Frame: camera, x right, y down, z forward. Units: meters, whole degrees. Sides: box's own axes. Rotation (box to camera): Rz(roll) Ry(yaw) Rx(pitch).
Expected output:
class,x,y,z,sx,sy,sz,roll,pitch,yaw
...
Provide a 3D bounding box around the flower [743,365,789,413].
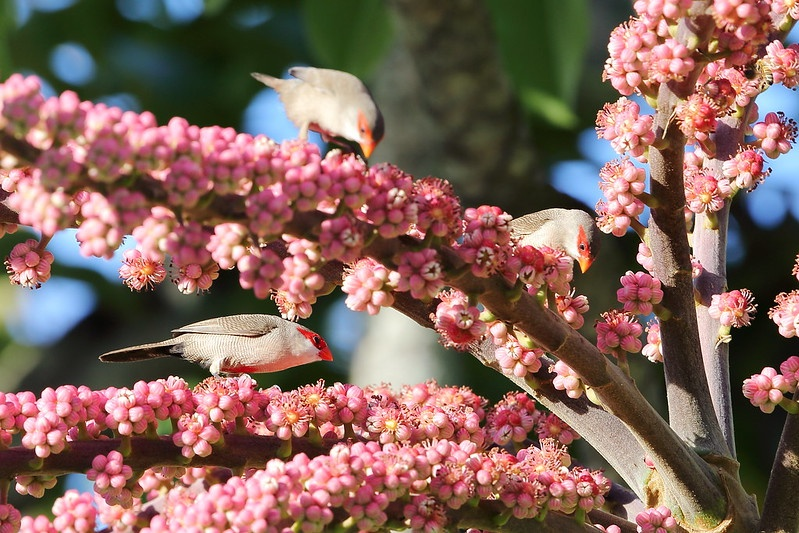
class,x,y,z,sx,sy,sz,roll,pitch,yaw
flower,1.056,0.373,3.406,0.121,0.189,0.102,5,48,23

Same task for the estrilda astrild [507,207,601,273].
class,x,y,z,sx,sy,sz,roll,pitch,yaw
estrilda astrild,0.493,-0.087,3.759,0.169,0.131,0.264,-48,57,5

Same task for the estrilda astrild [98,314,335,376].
class,x,y,z,sx,sy,sz,roll,pitch,yaw
estrilda astrild,-0.713,0.324,4.822,0.637,0.183,0.236,9,38,21
